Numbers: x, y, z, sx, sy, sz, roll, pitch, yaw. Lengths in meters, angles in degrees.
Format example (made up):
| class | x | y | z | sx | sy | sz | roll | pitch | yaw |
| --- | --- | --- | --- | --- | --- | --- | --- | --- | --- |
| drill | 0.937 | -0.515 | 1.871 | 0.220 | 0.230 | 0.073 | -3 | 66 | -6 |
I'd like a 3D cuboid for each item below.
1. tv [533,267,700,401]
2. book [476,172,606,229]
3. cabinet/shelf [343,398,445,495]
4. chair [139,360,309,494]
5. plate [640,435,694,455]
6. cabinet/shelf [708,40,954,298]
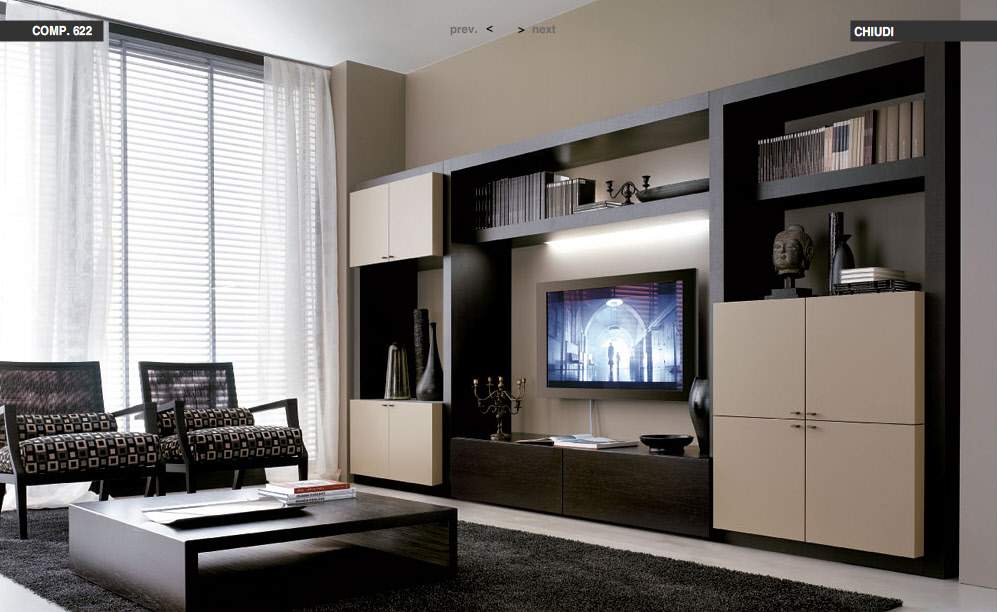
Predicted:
| class | x | y | z | sx | sy | sz | roll | pitch | yaw |
| --- | --- | --- | --- | --- | --- | --- | --- | --- | --- |
| tv | 0.924 | 0.214 | 5.649 | 1.087 | 0.703 | 0.116 | -4 | -5 | 40 |
| book | 0.301 | -0.824 | 6.016 | 1.206 | 0.421 | 0.275 | 3 | 5 | 44 |
| cabinet/shelf | -0.841 | 1.175 | 6.375 | 0.884 | 0.509 | 0.142 | -2 | -1 | 44 |
| chair | -2.052 | 0.944 | 5.682 | 1.123 | 1.078 | 1.078 | 1 | -8 | -28 |
| plate | 1.117 | 0.924 | 5.059 | 0.321 | 0.111 | 0.194 | 0 | 3 | -1 |
| cabinet/shelf | 2.054 | -0.793 | 4.648 | 0.576 | 1.602 | 1.762 | 3 | -3 | -38 |
